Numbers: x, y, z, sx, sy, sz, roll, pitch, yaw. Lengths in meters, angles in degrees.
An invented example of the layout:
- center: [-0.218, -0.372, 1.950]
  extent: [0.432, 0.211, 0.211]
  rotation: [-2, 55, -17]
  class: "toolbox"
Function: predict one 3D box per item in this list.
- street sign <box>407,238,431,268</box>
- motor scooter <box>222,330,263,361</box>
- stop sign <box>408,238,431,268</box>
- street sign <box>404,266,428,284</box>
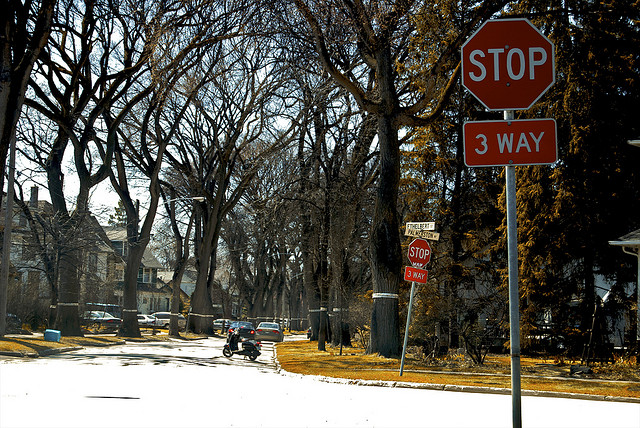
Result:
- center: [3.572, 1.449, 26.504]
  extent: [0.828, 1.281, 0.131]
  rotation: [8, -30, 10]
  class: "street sign"
- center: [-3.950, 6.453, 37.153]
  extent: [2.087, 1.568, 1.069]
  rotation: [1, 8, 25]
  class: "motor scooter"
- center: [3.574, 1.415, 26.548]
  extent: [0.826, 1.301, 0.110]
  rotation: [9, 29, 6]
  class: "stop sign"
- center: [3.561, 2.232, 27.281]
  extent: [0.988, 0.796, 0.154]
  rotation: [3, -4, 5]
  class: "street sign"
